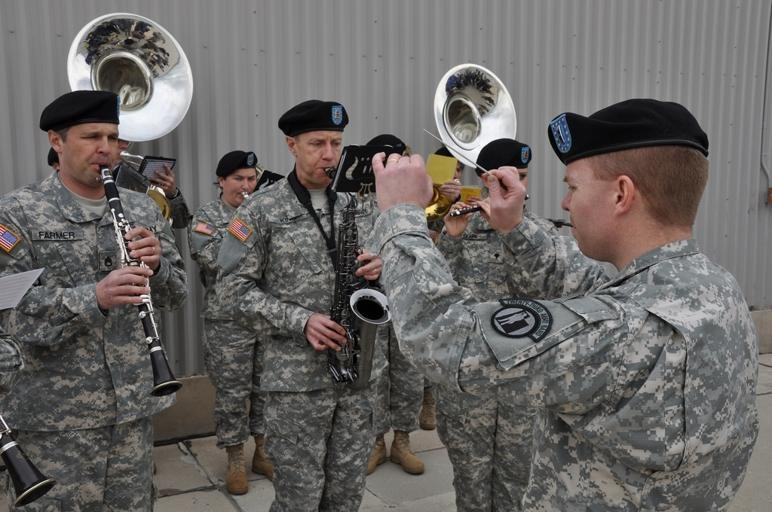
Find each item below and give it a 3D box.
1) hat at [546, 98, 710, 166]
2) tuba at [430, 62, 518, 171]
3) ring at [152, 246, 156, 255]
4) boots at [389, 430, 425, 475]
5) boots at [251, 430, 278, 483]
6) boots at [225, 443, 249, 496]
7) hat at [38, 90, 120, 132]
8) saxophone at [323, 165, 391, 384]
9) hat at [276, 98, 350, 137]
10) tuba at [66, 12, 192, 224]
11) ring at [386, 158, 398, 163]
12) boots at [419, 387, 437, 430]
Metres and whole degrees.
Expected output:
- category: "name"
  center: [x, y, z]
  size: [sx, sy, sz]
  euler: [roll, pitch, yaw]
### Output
- category: "hat"
  center: [1.418, -0.685, 5.230]
  size: [0.848, 0.335, 0.664]
  euler: [3, -10, 16]
- category: "tuba"
  center: [0.838, -1.349, 9.021]
  size: [1.172, 1.197, 0.367]
  euler: [7, -12, -31]
- category: "ring"
  center: [-1.608, -0.041, 6.302]
  size: [0.037, 0.013, 0.051]
  euler: [0, 32, -15]
- category: "boots"
  center: [0.192, 1.739, 8.172]
  size: [0.164, 0.305, 0.472]
  euler: [-2, 10, -30]
- category: "boots"
  center: [-1.034, 1.773, 8.028]
  size: [0.146, 0.341, 0.331]
  euler: [-7, 8, -42]
- category: "boots"
  center: [-1.314, 1.813, 7.890]
  size: [0.197, 0.275, 0.637]
  euler: [-3, 14, -11]
- category: "hat"
  center: [-2.136, -1.019, 6.335]
  size: [0.494, 0.292, 0.434]
  euler: [-1, 11, -31]
- category: "saxophone"
  center: [-0.187, 0.262, 6.441]
  size: [0.313, 1.431, 0.514]
  euler: [-8, 12, -42]
- category: "hat"
  center: [-0.562, -1.000, 6.917]
  size: [0.566, 0.230, 0.619]
  euler: [-1, 0, -45]
- category: "tuba"
  center: [-2.385, -1.222, 8.317]
  size: [1.018, 1.890, 0.926]
  euler: [-3, 15, -32]
- category: "ring"
  center: [0.024, -0.536, 5.088]
  size: [0.037, 0.036, 0.036]
  euler: [3, 5, 0]
- category: "boots"
  center: [0.415, 1.507, 9.042]
  size: [0.154, 0.328, 0.430]
  euler: [6, 11, -3]
